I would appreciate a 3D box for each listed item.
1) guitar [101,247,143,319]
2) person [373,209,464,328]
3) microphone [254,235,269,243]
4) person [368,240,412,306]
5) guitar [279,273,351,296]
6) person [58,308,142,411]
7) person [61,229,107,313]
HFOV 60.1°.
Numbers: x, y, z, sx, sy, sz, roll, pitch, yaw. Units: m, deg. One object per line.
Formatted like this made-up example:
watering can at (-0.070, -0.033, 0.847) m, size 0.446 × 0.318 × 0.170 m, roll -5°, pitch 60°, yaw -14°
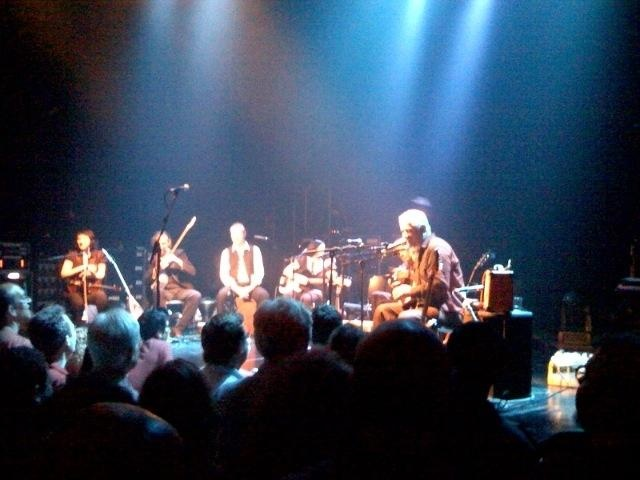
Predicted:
guitar at (-3.241, 0.706, 9.088) m, size 0.190 × 1.093 × 0.293 m, roll -30°, pitch 6°, yaw -29°
person at (1.271, 0.331, 7.146) m, size 0.894 × 1.515 × 1.049 m, roll 3°, pitch -4°, yaw -35°
microphone at (-1.162, -0.066, 11.076) m, size 0.198 × 0.214 × 0.189 m, roll 4°, pitch 13°, yaw 16°
person at (1.063, 0.473, 8.308) m, size 0.334 × 0.980 × 0.707 m, roll -1°, pitch 4°, yaw -3°
guitar at (-0.222, 0.758, 9.706) m, size 0.965 × 0.261 × 0.513 m, roll -1°, pitch 0°, yaw 43°
person at (-1.610, 0.885, 4.056) m, size 0.659 × 0.809 × 0.435 m, roll 6°, pitch 1°, yaw 3°
person at (-3.941, 0.531, 9.299) m, size 0.683 × 1.450 × 0.685 m, roll 4°, pitch -4°, yaw -44°
